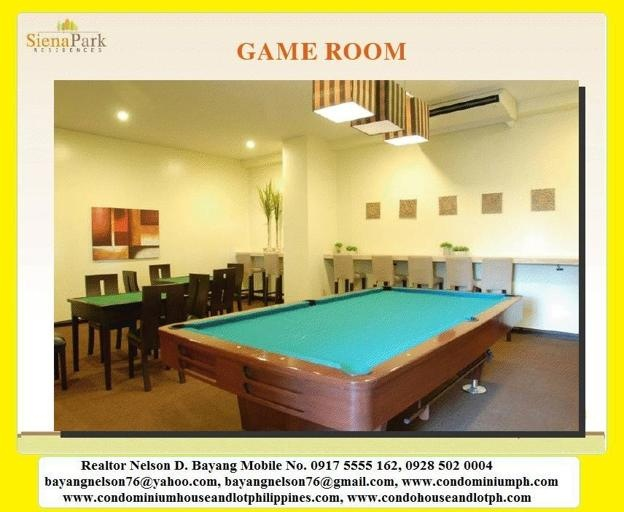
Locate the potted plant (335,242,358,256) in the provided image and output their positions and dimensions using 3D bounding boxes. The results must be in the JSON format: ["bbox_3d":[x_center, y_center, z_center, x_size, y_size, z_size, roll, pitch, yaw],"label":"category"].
[{"bbox_3d":[0.580,-0.113,7.980,0.371,0.140,0.184,3,4,25],"label":"potted plant"}]

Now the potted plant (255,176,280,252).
[{"bbox_3d":[-0.831,-0.795,9.180,0.285,1.293,0.699,-4,6,-38],"label":"potted plant"}]

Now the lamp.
[{"bbox_3d":[0.616,-1.418,4.570,0.431,0.482,1.459,3,6,39],"label":"lamp"}]

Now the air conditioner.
[{"bbox_3d":[2.071,-1.861,6.169,1.040,0.308,0.762,3,6,44],"label":"air conditioner"}]
